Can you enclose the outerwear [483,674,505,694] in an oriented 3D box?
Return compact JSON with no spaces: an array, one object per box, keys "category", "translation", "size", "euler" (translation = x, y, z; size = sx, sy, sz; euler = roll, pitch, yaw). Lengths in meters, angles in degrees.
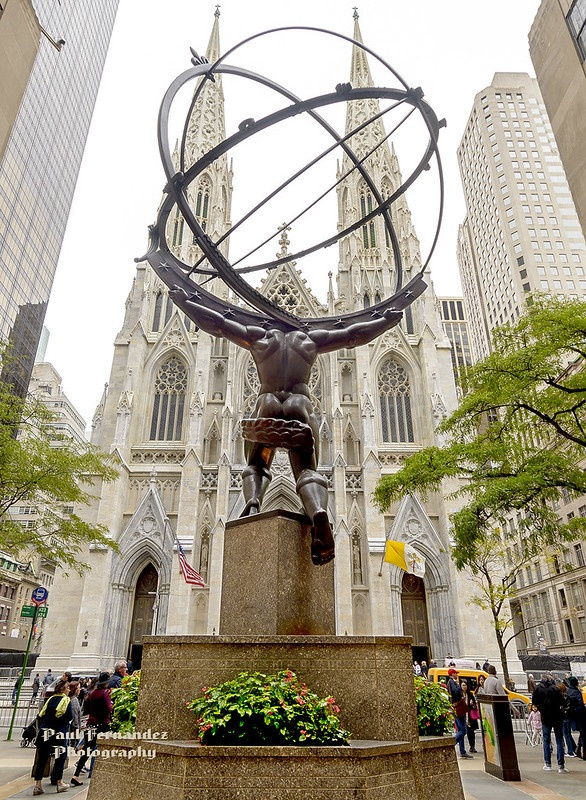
[{"category":"outerwear","translation":[4.275,5.478,8.310],"size":[0.400,0.245,1.150],"euler":[-12,-27,20]}]
